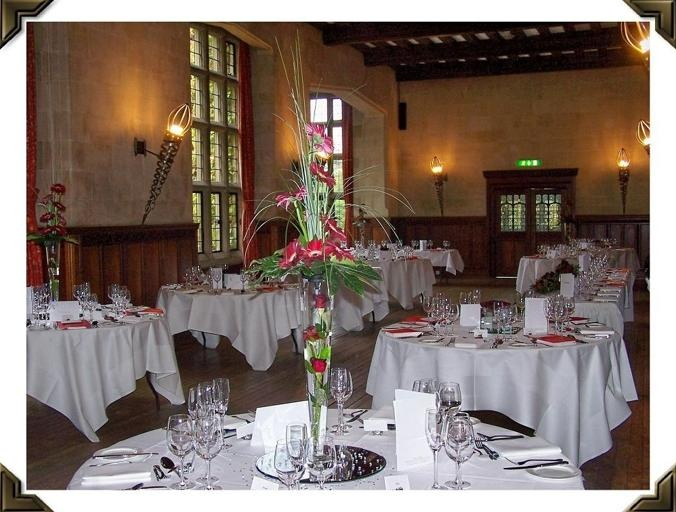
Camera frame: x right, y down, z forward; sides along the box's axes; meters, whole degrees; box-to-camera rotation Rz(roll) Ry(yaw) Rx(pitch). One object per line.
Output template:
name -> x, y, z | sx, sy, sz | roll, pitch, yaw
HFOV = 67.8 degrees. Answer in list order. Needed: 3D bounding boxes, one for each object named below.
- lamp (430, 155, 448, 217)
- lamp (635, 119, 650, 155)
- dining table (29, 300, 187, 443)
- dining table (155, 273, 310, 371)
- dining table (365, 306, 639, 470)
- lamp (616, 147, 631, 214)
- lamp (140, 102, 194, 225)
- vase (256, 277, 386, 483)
lamp -> 3.019, -2.169, 15.575 | 0.502, 1.825, 0.359 | 1, 6, 10
lamp -> 7.730, -3.123, 13.061 | 0.285, 1.105, 2.455 | 3, 7, 29
dining table -> -2.209, 1.114, 4.683 | 1.342, 0.909, 1.486 | -4, -3, -38
dining table -> -1.516, 0.930, 6.947 | 1.927, 1.018, 2.073 | 1, 2, -20
dining table -> 1.401, 1.179, 4.214 | 1.641, 0.767, 1.795 | 5, -13, -43
lamp -> 7.856, -2.107, 14.202 | 0.351, 1.843, 0.285 | 2, 7, 23
lamp -> -2.706, -1.577, 8.274 | 0.514, 2.065, 1.180 | 1, 6, 13
vase -> -0.028, 0.447, 1.963 | 0.252, 0.761, 0.770 | 0, 6, 3
